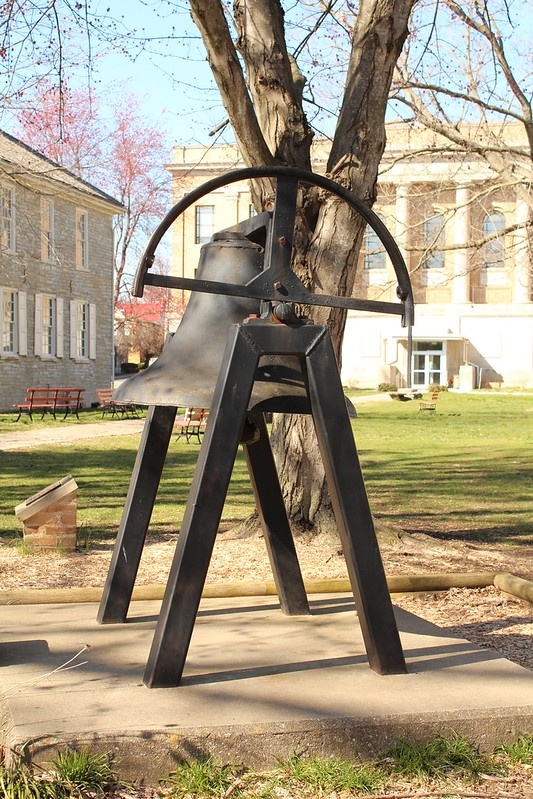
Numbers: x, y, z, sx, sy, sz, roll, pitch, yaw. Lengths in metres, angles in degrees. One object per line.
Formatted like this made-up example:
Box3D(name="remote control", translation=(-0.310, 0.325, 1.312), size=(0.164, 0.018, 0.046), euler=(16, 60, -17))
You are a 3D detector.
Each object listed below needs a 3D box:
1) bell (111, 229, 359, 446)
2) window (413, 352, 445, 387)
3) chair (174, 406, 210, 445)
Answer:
Box3D(name="bell", translation=(-0.161, -0.459, 4.251), size=(0.927, 0.895, 1.010), euler=(-8, 13, -42))
Box3D(name="window", translation=(10.273, -1.745, 58.475), size=(2.889, 2.578, 0.461), euler=(1, -9, -10))
Box3D(name="chair", translation=(-1.360, 0.517, 16.758), size=(0.363, 0.524, 0.851), euler=(1, -1, 5))
